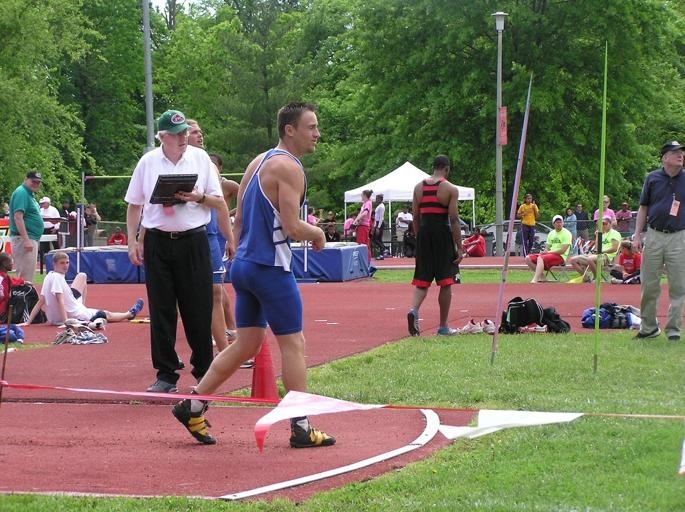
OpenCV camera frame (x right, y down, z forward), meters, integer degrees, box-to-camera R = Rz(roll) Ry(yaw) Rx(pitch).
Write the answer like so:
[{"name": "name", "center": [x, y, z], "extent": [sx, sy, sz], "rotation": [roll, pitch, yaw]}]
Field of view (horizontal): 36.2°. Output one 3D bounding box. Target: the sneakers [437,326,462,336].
[{"name": "sneakers", "center": [1.425, 0.990, 13.894], "extent": [0.308, 0.113, 0.114], "rotation": [-1, 2, -11]}]

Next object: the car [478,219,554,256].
[{"name": "car", "center": [6.187, -0.859, 34.953], "extent": [1.483, 1.186, 2.734], "rotation": [-14, -5, -18]}]

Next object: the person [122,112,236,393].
[{"name": "person", "center": [-1.578, -0.027, 10.384], "extent": [1.217, 2.672, 0.921], "rotation": [-1, 8, 1]}]

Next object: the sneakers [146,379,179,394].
[{"name": "sneakers", "center": [-1.786, 1.295, 10.416], "extent": [0.316, 0.116, 0.125], "rotation": [5, -4, -13]}]

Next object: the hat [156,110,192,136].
[{"name": "hat", "center": [-1.658, -1.319, 10.249], "extent": [0.298, 0.158, 0.219], "rotation": [3, 18, 45]}]

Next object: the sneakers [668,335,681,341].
[{"name": "sneakers", "center": [4.148, 1.020, 13.053], "extent": [0.173, 0.071, 0.132], "rotation": [-1, 9, 4]}]

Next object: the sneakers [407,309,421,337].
[{"name": "sneakers", "center": [0.960, 0.876, 13.901], "extent": [0.155, 0.362, 0.176], "rotation": [0, 11, 16]}]

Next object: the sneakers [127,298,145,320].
[{"name": "sneakers", "center": [-3.347, 0.861, 16.997], "extent": [0.111, 0.294, 0.131], "rotation": [39, 14, 35]}]

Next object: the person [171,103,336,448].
[{"name": "person", "center": [-0.768, 0.155, 9.315], "extent": [1.273, 3.015, 1.156], "rotation": [-3, 10, -5]}]

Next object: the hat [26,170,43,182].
[{"name": "hat", "center": [-4.593, -1.206, 15.549], "extent": [0.170, 0.106, 0.226], "rotation": [4, 1, -42]}]

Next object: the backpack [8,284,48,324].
[{"name": "backpack", "center": [-4.515, 0.681, 15.015], "extent": [0.504, 0.537, 0.326], "rotation": [-22, 0, 34]}]

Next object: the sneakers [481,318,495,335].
[{"name": "sneakers", "center": [1.977, 0.947, 14.009], "extent": [0.168, 0.146, 0.400], "rotation": [0, -3, -7]}]

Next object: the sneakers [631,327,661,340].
[{"name": "sneakers", "center": [3.839, 0.978, 13.222], "extent": [0.312, 0.127, 0.367], "rotation": [1, 9, 14]}]

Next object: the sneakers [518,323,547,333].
[{"name": "sneakers", "center": [2.506, 0.952, 13.764], "extent": [0.387, 0.132, 0.130], "rotation": [5, -15, -2]}]

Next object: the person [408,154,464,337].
[{"name": "person", "center": [1.226, -0.121, 13.933], "extent": [0.736, 2.429, 0.836], "rotation": [-1, 10, 5]}]
